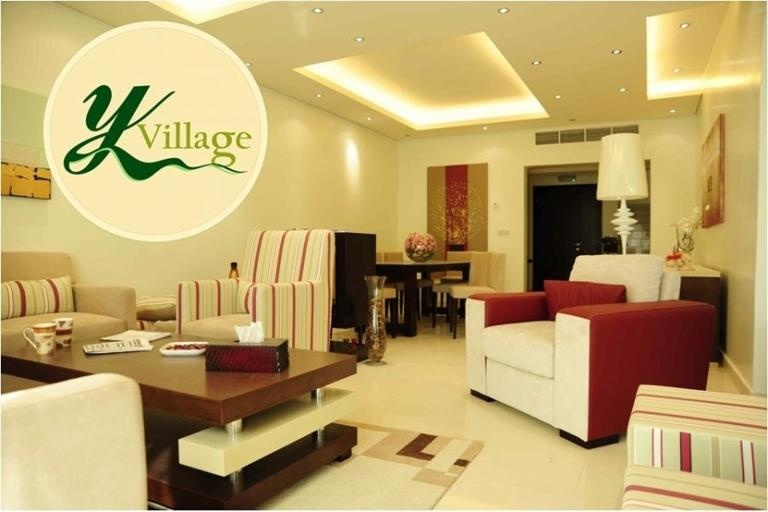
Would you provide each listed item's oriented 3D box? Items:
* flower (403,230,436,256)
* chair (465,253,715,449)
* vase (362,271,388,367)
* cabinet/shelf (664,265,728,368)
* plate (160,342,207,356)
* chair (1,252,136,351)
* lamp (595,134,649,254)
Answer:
[{"bbox_3d":[0.454,-0.146,6.431,0.316,0.217,0.295,4,-4,-41],"label":"flower"},{"bbox_3d":[1.389,0.547,3.688,1.077,1.112,1.269,-5,9,-28],"label":"chair"},{"bbox_3d":[-0.073,0.574,4.648,0.157,0.813,0.198,-1,9,-6],"label":"vase"},{"bbox_3d":[2.318,0.452,3.862,0.499,0.855,0.950,1,0,30],"label":"cabinet/shelf"},{"bbox_3d":[-1.162,0.543,3.022,0.168,0.038,0.164,1,-1,-4],"label":"plate"},{"bbox_3d":[-2.564,0.305,4.085,0.814,0.784,0.778,-1,-1,34],"label":"chair"},{"bbox_3d":[2.009,-0.521,4.405,0.383,1.017,0.860,3,9,23],"label":"lamp"}]
